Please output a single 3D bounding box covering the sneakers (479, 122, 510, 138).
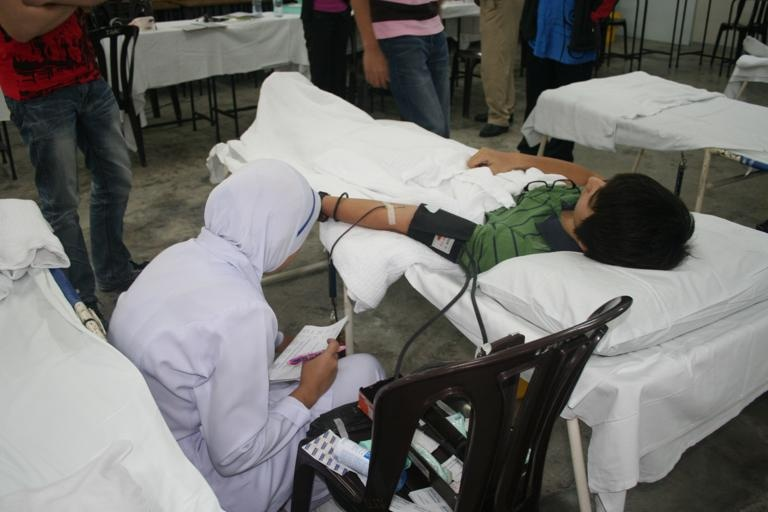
[{"bbox_3d":[0.924,-1.065,5.187,0.299,0.130,0.112,-16,35,-34],"label":"sneakers"}]

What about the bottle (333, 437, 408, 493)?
[{"bbox_3d":[-0.043,0.566,1.724,0.200,0.084,0.128,44,56,13],"label":"bottle"}]

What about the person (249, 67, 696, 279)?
[{"bbox_3d":[0.510,-0.186,2.327,1.122,0.393,0.584,27,47,21],"label":"person"}]

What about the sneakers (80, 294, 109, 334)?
[{"bbox_3d":[-1.128,0.225,2.354,0.037,0.183,0.047,-30,-5,-11],"label":"sneakers"}]
